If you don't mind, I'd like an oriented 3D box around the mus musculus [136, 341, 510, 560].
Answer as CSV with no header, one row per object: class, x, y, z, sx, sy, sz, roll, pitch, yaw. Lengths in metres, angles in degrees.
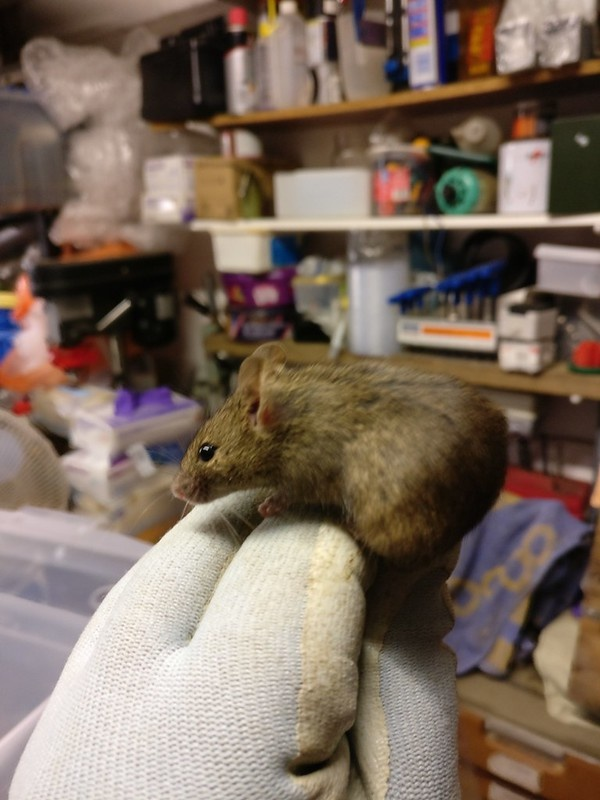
mus musculus,0.026,0.028,0.610,0.306,0.148,0.158,5,6,27
